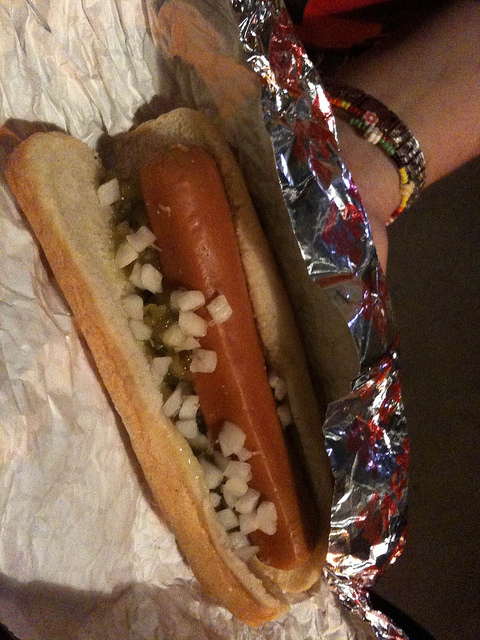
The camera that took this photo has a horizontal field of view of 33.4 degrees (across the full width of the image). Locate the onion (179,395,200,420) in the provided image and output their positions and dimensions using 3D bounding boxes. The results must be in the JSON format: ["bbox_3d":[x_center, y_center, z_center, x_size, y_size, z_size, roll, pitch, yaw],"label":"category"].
[{"bbox_3d":[-0.144,0.247,2.243,0.047,0.055,0.065,21,65,-2],"label":"onion"}]

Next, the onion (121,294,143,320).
[{"bbox_3d":[-0.305,-0.035,2.240,0.058,0.045,0.067,0,68,-12],"label":"onion"}]

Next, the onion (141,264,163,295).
[{"bbox_3d":[-0.245,-0.111,2.190,0.055,0.019,0.075,-47,115,-17],"label":"onion"}]

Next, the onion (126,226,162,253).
[{"bbox_3d":[-0.268,-0.217,2.203,0.083,0.025,0.061,32,85,7],"label":"onion"}]

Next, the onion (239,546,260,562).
[{"bbox_3d":[0.026,0.668,2.306,0.061,0.020,0.034,-22,111,14],"label":"onion"}]

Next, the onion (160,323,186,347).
[{"bbox_3d":[-0.184,0.045,2.176,0.057,0.017,0.061,20,111,25],"label":"onion"}]

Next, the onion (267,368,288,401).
[{"bbox_3d":[0.103,0.183,2.265,0.019,0.075,0.071,-9,58,20],"label":"onion"}]

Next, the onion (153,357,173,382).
[{"bbox_3d":[-0.223,0.138,2.244,0.052,0.068,0.055,12,65,-6],"label":"onion"}]

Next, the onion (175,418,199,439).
[{"bbox_3d":[-0.151,0.304,2.252,0.070,0.038,0.048,9,66,-8],"label":"onion"}]

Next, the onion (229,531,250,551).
[{"bbox_3d":[-0.008,0.630,2.285,0.052,0.027,0.053,40,76,-12],"label":"onion"}]

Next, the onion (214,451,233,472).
[{"bbox_3d":[-0.050,0.391,2.231,0.014,0.039,0.059,-21,77,-50],"label":"onion"}]

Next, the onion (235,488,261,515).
[{"bbox_3d":[0.019,0.502,2.205,0.049,0.023,0.070,28,108,15],"label":"onion"}]

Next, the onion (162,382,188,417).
[{"bbox_3d":[-0.185,0.219,2.238,0.048,0.028,0.095,25,92,-12],"label":"onion"}]

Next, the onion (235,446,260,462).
[{"bbox_3d":[0.009,0.364,2.166,0.046,0.012,0.035,-3,94,-10],"label":"onion"}]

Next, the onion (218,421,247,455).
[{"bbox_3d":[-0.025,0.316,2.165,0.069,0.019,0.081,29,95,17],"label":"onion"}]

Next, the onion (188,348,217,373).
[{"bbox_3d":[-0.101,0.112,2.163,0.072,0.065,0.055,16,65,-5],"label":"onion"}]

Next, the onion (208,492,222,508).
[{"bbox_3d":[-0.074,0.509,2.262,0.034,0.014,0.040,-6,90,-43],"label":"onion"}]

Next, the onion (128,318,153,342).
[{"bbox_3d":[-0.283,0.026,2.236,0.046,0.018,0.069,-34,94,-1],"label":"onion"}]

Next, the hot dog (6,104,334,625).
[{"bbox_3d":[-0.109,0.116,2.297,0.596,0.638,1.458,-23,75,-20],"label":"hot dog"}]

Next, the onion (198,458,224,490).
[{"bbox_3d":[-0.084,0.429,2.238,0.049,0.029,0.089,-20,77,-21],"label":"onion"}]
